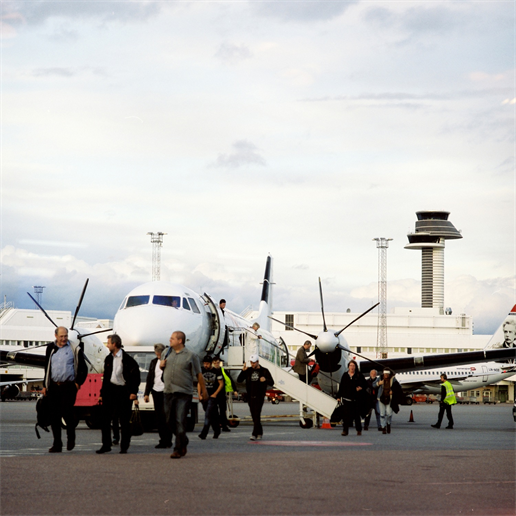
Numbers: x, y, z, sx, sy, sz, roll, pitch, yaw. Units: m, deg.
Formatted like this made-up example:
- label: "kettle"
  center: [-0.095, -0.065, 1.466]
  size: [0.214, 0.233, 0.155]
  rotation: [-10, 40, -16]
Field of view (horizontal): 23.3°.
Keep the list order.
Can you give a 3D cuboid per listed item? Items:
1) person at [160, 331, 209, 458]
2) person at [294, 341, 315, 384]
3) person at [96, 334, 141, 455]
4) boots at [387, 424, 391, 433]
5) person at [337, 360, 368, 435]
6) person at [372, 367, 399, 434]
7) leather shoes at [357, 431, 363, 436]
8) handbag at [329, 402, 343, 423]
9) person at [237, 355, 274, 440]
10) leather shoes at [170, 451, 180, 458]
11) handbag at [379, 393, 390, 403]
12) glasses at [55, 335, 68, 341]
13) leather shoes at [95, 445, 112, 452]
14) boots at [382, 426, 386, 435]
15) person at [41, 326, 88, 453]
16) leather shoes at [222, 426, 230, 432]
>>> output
- label: "person"
  center: [-1.260, 2.352, 21.479]
  size: [0.696, 2.144, 0.646]
  rotation: [4, -8, -16]
- label: "person"
  center: [1.168, 2.813, 32.741]
  size: [0.579, 1.187, 0.507]
  rotation: [-4, 8, -29]
- label: "person"
  center: [-2.434, 2.388, 21.938]
  size: [0.694, 2.070, 0.318]
  rotation: [2, -8, -8]
- label: "boots"
  center: [3.033, 3.998, 29.171]
  size: [0.093, 0.232, 0.107]
  rotation: [-4, 7, 3]
- label: "person"
  center: [2.102, 3.170, 28.223]
  size: [0.624, 1.668, 1.106]
  rotation: [1, -8, 4]
- label: "person"
  center: [3.100, 3.403, 29.777]
  size: [0.567, 1.504, 1.134]
  rotation: [1, -7, 5]
- label: "leather shoes"
  center: [2.237, 3.928, 27.899]
  size: [0.112, 0.105, 0.112]
  rotation: [1, -1, -39]
- label: "handbag"
  center: [1.785, 3.645, 28.418]
  size: [0.194, 0.557, 0.651]
  rotation: [16, 18, -1]
- label: "person"
  center: [-0.078, 2.931, 26.103]
  size: [0.718, 1.738, 1.194]
  rotation: [0, -8, 7]
- label: "leather shoes"
  center: [-1.384, 3.326, 21.096]
  size: [0.178, 0.116, 0.231]
  rotation: [2, -7, -5]
- label: "handbag"
  center: [2.995, 3.361, 29.758]
  size: [0.262, 0.275, 0.215]
  rotation: [-2, -8, 21]
- label: "glasses"
  center: [-3.441, 1.413, 22.017]
  size: [0.156, 0.075, 0.181]
  rotation: [1, -10, -9]
- label: "leather shoes"
  center: [-2.688, 3.343, 21.824]
  size: [0.244, 0.139, 0.346]
  rotation: [2, -7, -7]
- label: "boots"
  center: [2.938, 4.056, 29.364]
  size: [0.059, 0.117, 0.120]
  rotation: [-4, 21, 8]
- label: "person"
  center: [-3.422, 2.445, 22.075]
  size: [0.744, 1.966, 0.481]
  rotation: [5, -8, -23]
- label: "leather shoes"
  center: [-0.767, 4.176, 30.395]
  size: [0.184, 0.103, 0.162]
  rotation: [2, 1, -13]
